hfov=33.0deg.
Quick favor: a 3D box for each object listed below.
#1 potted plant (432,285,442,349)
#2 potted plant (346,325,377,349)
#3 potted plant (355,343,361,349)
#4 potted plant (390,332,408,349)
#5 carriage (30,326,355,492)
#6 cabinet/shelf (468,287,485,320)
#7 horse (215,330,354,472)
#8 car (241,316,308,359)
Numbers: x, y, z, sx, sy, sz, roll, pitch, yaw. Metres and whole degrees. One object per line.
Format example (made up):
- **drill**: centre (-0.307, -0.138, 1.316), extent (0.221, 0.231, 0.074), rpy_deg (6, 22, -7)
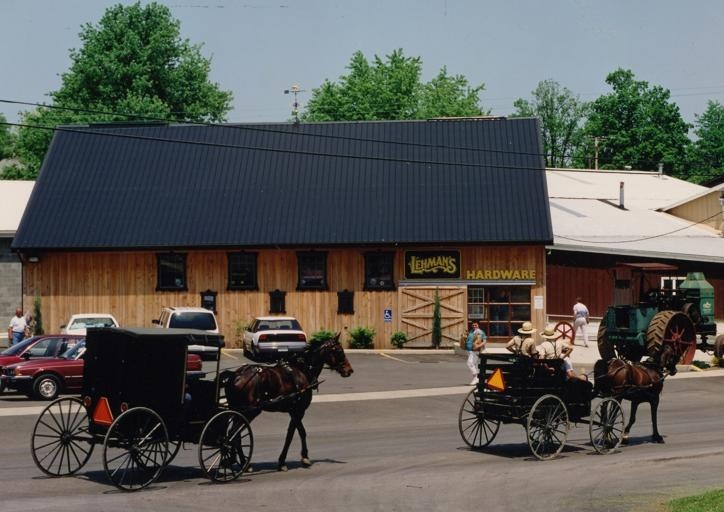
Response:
- **potted plant**: centre (3.911, 3.395, 63.651), extent (0.501, 2.891, 0.822), rpy_deg (1, 9, 3)
- **potted plant**: centre (-0.023, 4.201, 63.608), extent (1.269, 0.906, 1.115), rpy_deg (1, 2, 2)
- **potted plant**: centre (-0.181, 4.700, 63.523), extent (0.232, 0.228, 0.112), rpy_deg (22, -3, 9)
- **potted plant**: centre (1.887, 4.397, 63.554), extent (0.819, 0.875, 0.836), rpy_deg (4, -4, 4)
- **carriage**: centre (-6.055, 4.696, 40.182), extent (9.396, 5.047, 4.399), rpy_deg (-2, 9, -15)
- **cabinet/shelf**: centre (6.019, 2.526, 64.636), extent (0.896, 1.749, 0.248), rpy_deg (1, 9, 4)
- **horse**: centre (-2.629, 4.881, 40.736), extent (4.779, 4.134, 1.434), rpy_deg (-4, -3, -16)
- **car**: centre (-4.190, 3.889, 57.978), extent (2.971, 2.059, 3.572), rpy_deg (1, -3, -11)
